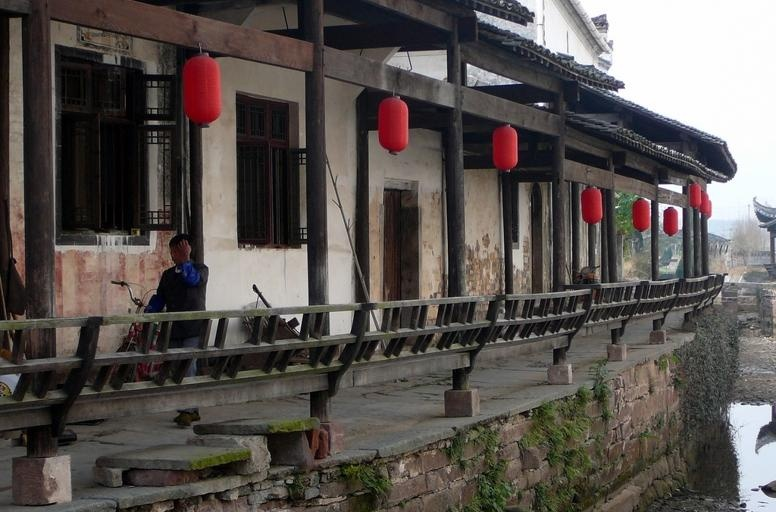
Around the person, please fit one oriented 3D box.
[{"bbox_3d":[-2.511,0.890,12.650,0.769,2.229,0.828,0,-4,-33],"label":"person"}]

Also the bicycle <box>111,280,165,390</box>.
[{"bbox_3d":[-3.171,0.969,13.717,0.811,0.979,1.477,9,18,-28],"label":"bicycle"}]

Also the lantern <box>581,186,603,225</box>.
[{"bbox_3d":[3.681,-0.916,19.596,0.348,0.782,0.376,-3,-8,16],"label":"lantern"}]

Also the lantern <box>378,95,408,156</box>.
[{"bbox_3d":[0.061,-1.697,14.081,0.521,0.778,0.559,-1,4,-10],"label":"lantern"}]

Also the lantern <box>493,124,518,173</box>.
[{"bbox_3d":[1.700,-1.608,15.784,0.313,0.662,0.362,-1,-2,12],"label":"lantern"}]

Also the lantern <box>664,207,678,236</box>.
[{"bbox_3d":[6.145,-0.771,23.457,0.277,0.556,0.585,-1,-2,12],"label":"lantern"}]

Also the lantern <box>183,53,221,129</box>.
[{"bbox_3d":[-2.166,-1.912,12.406,0.400,0.774,0.276,0,-2,-22],"label":"lantern"}]

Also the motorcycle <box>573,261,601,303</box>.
[{"bbox_3d":[3.614,0.447,19.673,0.457,0.739,7.511,-1,-2,10],"label":"motorcycle"}]
